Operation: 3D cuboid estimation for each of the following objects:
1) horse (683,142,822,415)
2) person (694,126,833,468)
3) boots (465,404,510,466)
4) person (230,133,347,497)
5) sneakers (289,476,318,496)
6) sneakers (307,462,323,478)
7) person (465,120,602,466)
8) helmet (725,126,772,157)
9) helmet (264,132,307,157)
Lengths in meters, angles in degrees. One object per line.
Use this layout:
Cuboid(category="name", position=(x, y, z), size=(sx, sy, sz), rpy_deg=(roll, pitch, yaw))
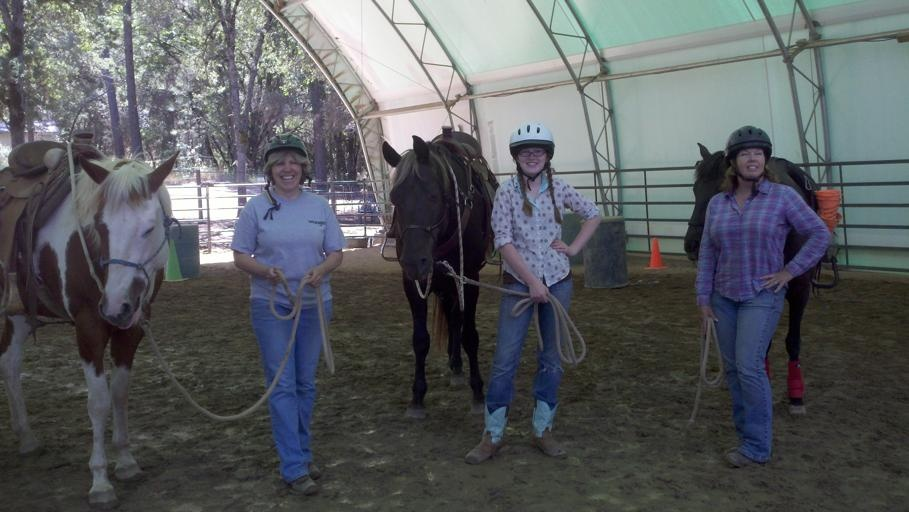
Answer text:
Cuboid(category="horse", position=(3.360, 0.014, 6.881), size=(0.918, 2.754, 3.749), rpy_deg=(-1, 6, 15))
Cuboid(category="person", position=(2.567, 0.317, 4.903), size=(0.860, 2.761, 0.631), rpy_deg=(-5, 9, -7))
Cuboid(category="boots", position=(0.283, 1.548, 5.073), size=(0.483, 0.486, 0.209), rpy_deg=(-4, 10, -41))
Cuboid(category="person", position=(-1.314, 0.455, 4.821), size=(0.784, 2.884, 0.647), rpy_deg=(-11, 12, -37))
Cuboid(category="sneakers", position=(-1.244, 1.885, 4.755), size=(0.219, 0.105, 0.130), rpy_deg=(0, 2, 30))
Cuboid(category="sneakers", position=(-1.195, 1.842, 4.932), size=(0.059, 0.117, 0.164), rpy_deg=(1, -6, -25))
Cuboid(category="person", position=(0.642, 0.312, 4.987), size=(1.143, 2.832, 0.486), rpy_deg=(-4, 9, -3))
Cuboid(category="helmet", position=(2.540, -0.955, 4.963), size=(0.346, 0.326, 0.402), rpy_deg=(-3, 1, 24))
Cuboid(category="helmet", position=(-1.420, -0.917, 4.806), size=(0.324, 0.195, 0.203), rpy_deg=(-8, 11, -21))
